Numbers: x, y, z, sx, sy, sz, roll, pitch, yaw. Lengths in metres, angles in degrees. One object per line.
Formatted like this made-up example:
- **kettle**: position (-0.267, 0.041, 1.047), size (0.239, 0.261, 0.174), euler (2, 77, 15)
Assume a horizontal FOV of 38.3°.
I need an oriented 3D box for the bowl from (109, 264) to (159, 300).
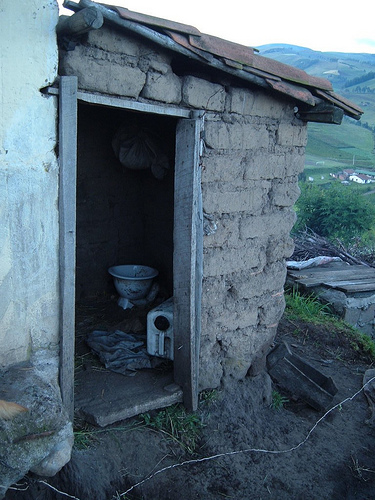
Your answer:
- **bowl**: position (-0.534, 0.357, 5.269), size (0.478, 0.225, 0.456), euler (-2, 1, 0)
